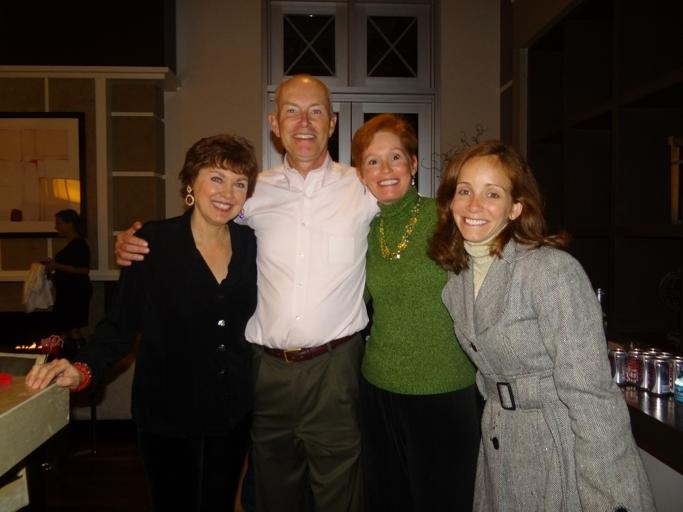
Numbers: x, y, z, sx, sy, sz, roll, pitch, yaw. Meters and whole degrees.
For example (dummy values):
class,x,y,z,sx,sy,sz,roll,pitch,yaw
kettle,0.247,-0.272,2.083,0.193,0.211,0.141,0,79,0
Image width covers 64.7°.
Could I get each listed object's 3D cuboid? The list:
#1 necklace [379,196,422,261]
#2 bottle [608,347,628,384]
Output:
class,x,y,z,sx,sy,sz,roll,pitch,yaw
necklace,0.288,-0.112,2.675,0.208,0.321,0.059,-6,-19,41
bottle,1.515,0.604,2.934,0.085,0.175,0.090,1,-5,0
